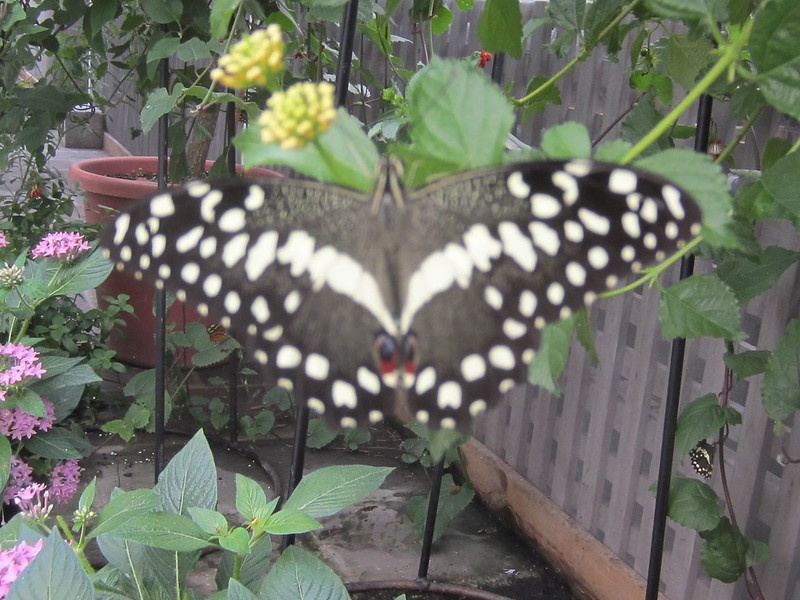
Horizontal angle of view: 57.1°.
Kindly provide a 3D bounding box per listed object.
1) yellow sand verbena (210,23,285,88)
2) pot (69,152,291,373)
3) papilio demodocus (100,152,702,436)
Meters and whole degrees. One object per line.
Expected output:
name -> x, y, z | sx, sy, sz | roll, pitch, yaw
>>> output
yellow sand verbena -> -0.153, -0.240, 0.745 | 0.047, 0.073, 0.062 | -12, 31, -23
pot -> -1.266, -0.260, 4.087 | 1.253, 1.129, 1.280 | 5, 21, -2
papilio demodocus -> -0.006, -0.009, 0.875 | 0.616, 0.345, 0.054 | -5, 22, 2
